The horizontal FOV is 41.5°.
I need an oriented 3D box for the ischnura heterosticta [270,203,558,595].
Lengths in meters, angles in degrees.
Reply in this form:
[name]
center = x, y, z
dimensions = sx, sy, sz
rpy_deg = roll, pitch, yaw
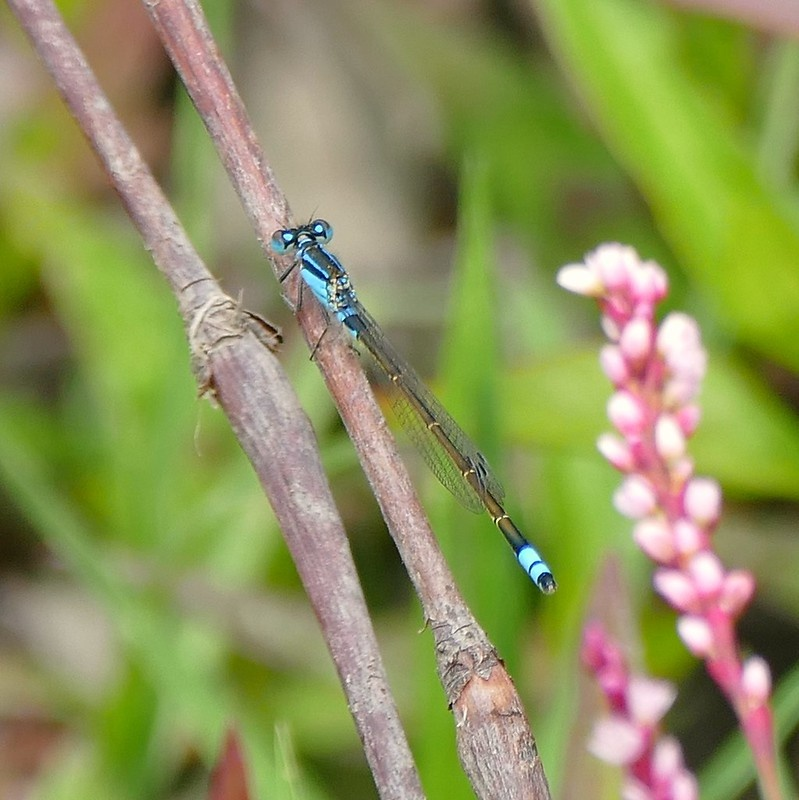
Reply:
[ischnura heterosticta]
center = 0.026, 0.006, 1.089
dimensions = 0.090, 0.426, 0.108
rpy_deg = -28, -7, -21
